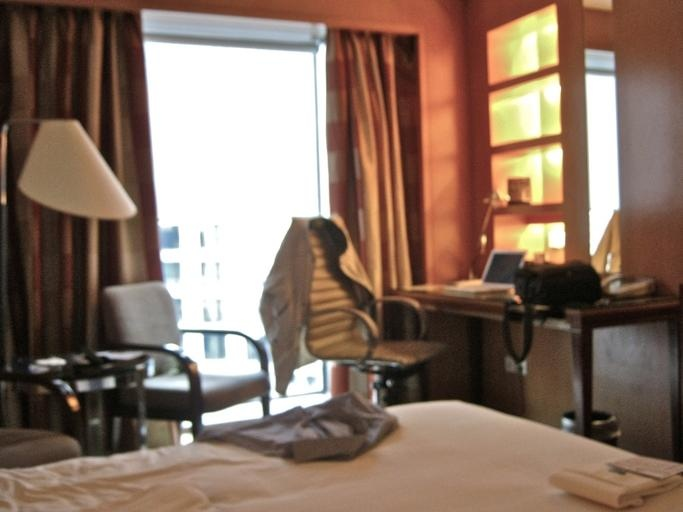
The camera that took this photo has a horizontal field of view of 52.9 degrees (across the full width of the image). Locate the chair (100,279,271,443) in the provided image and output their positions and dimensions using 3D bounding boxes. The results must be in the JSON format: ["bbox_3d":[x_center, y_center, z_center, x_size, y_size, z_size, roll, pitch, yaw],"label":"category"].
[{"bbox_3d":[-0.650,0.461,3.705,0.790,1.037,0.759,-2,0,30],"label":"chair"}]

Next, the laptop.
[{"bbox_3d":[0.771,0.091,3.646,0.276,0.177,0.278,-3,2,-25],"label":"laptop"}]

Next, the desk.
[{"bbox_3d":[0.878,0.800,3.595,0.659,0.994,1.589,1,-3,-21],"label":"desk"}]

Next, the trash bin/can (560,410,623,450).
[{"bbox_3d":[1.137,0.759,3.130,0.220,0.186,0.234,0,2,40],"label":"trash bin/can"}]

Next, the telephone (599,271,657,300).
[{"bbox_3d":[1.287,0.141,3.182,0.266,0.079,0.224,-11,16,-29],"label":"telephone"}]
